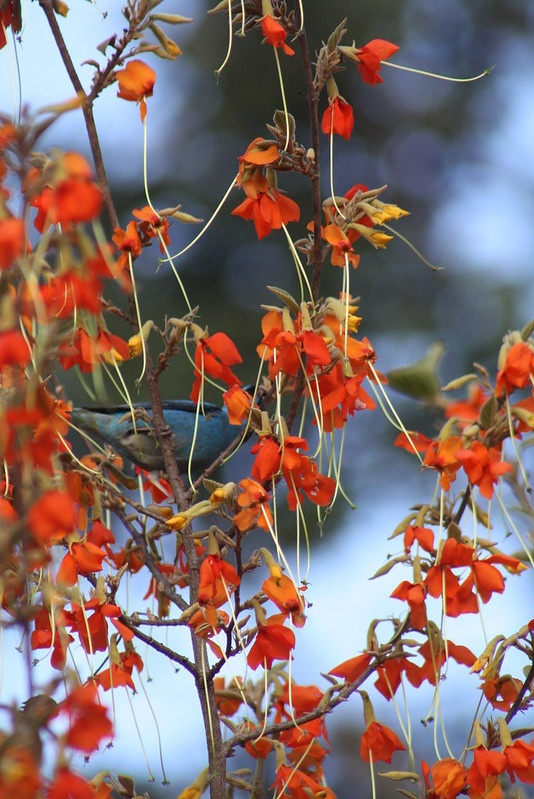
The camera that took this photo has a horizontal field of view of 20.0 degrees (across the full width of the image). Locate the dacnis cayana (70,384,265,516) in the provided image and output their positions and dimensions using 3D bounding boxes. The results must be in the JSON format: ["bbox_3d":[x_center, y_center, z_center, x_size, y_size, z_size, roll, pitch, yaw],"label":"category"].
[{"bbox_3d":[-0.178,0.042,2.495,0.365,0.112,0.199,10,45,0],"label":"dacnis cayana"}]
